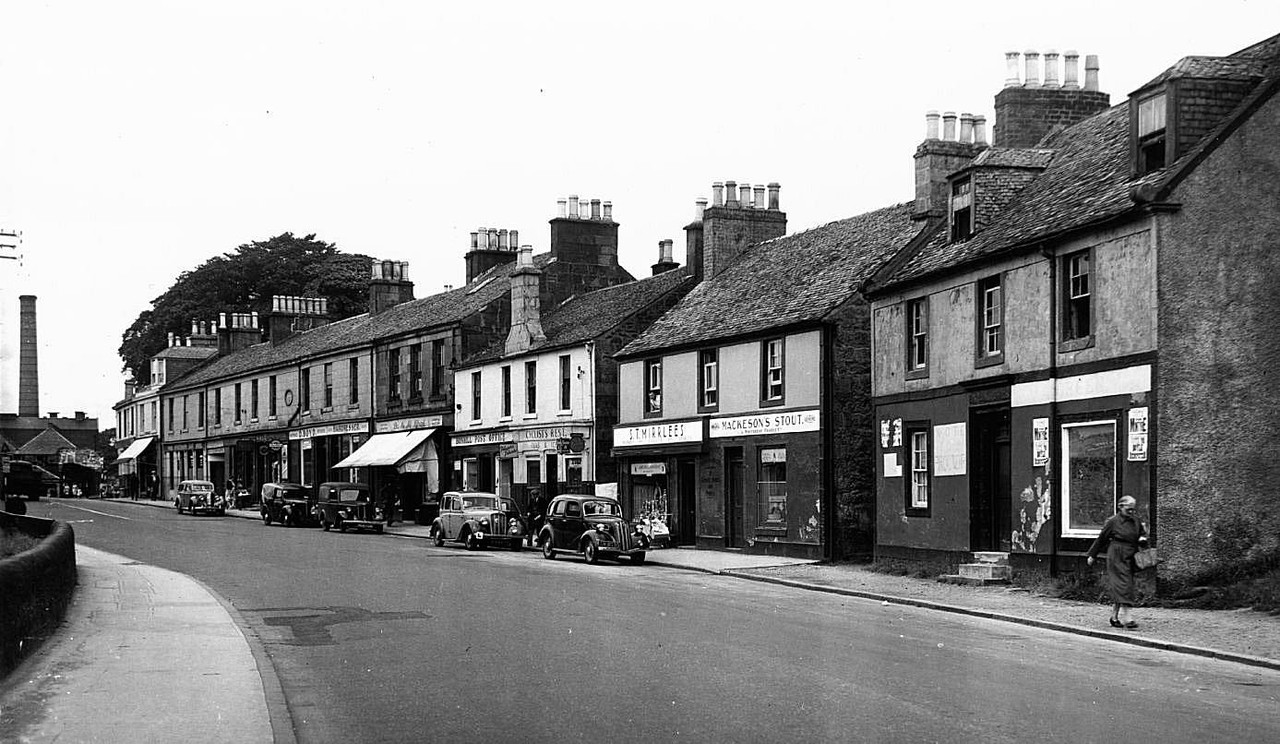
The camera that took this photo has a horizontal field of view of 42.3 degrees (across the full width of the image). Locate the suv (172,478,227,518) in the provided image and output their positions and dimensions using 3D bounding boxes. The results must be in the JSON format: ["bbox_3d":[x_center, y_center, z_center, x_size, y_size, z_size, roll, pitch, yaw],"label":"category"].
[{"bbox_3d":[-21.783,6.269,81.728,1.828,1.864,3.321,5,-12,-25],"label":"suv"}]

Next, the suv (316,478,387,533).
[{"bbox_3d":[-11.983,5.542,67.526,1.595,1.245,2.923,4,-10,-30],"label":"suv"}]

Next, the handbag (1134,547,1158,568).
[{"bbox_3d":[12.829,4.728,41.829,0.670,0.629,0.192,-17,-20,35],"label":"handbag"}]

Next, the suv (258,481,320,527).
[{"bbox_3d":[-15.411,5.846,72.365,1.509,1.249,2.718,4,-9,-35],"label":"suv"}]

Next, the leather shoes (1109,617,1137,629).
[{"bbox_3d":[11.540,6.013,39.499,0.625,0.238,0.223,-6,-6,28],"label":"leather shoes"}]
